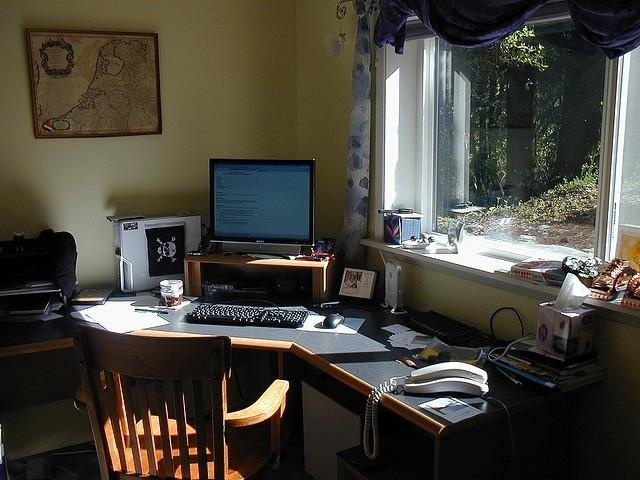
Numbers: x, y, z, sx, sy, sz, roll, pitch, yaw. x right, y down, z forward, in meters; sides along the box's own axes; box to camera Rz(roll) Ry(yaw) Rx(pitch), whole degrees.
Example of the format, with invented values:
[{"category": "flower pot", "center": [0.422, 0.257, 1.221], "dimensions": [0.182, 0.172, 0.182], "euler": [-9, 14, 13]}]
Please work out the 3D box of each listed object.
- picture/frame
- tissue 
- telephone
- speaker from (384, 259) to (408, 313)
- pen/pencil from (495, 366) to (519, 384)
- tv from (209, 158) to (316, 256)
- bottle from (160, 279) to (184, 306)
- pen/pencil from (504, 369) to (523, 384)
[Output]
[{"category": "picture/frame", "center": [-1.325, -0.906, 2.861], "dimensions": [0.589, 0.536, 0.045], "euler": [-6, 13, -21]}, {"category": "tissue ", "center": [0.938, 0.277, 1.912], "dimensions": [0.189, 0.305, 0.198], "euler": [3, 17, 18]}, {"category": "telephone", "center": [0.477, 0.499, 1.894], "dimensions": [0.282, 0.114, 0.128], "euler": [0, 9, 1]}, {"category": "speaker", "center": [0.397, 0.242, 2.598], "dimensions": [0.101, 0.306, 0.239], "euler": [-1, 3, -18]}, {"category": "pen/pencil", "center": [0.729, 0.521, 1.932], "dimensions": [0.019, 0.030, 0.113], "euler": [25, 6, -30]}, {"category": "tv", "center": [-0.315, -0.196, 2.825], "dimensions": [0.489, 0.465, 0.166], "euler": [1, 2, 10]}, {"category": "bottle", "center": [-0.797, 0.280, 2.692], "dimensions": [0.102, 0.097, 0.130], "euler": [5, 14, 9]}, {"category": "pen/pencil", "center": [0.740, 0.521, 1.917], "dimensions": [0.016, 0.021, 0.084], "euler": [25, 13, -20]}]
